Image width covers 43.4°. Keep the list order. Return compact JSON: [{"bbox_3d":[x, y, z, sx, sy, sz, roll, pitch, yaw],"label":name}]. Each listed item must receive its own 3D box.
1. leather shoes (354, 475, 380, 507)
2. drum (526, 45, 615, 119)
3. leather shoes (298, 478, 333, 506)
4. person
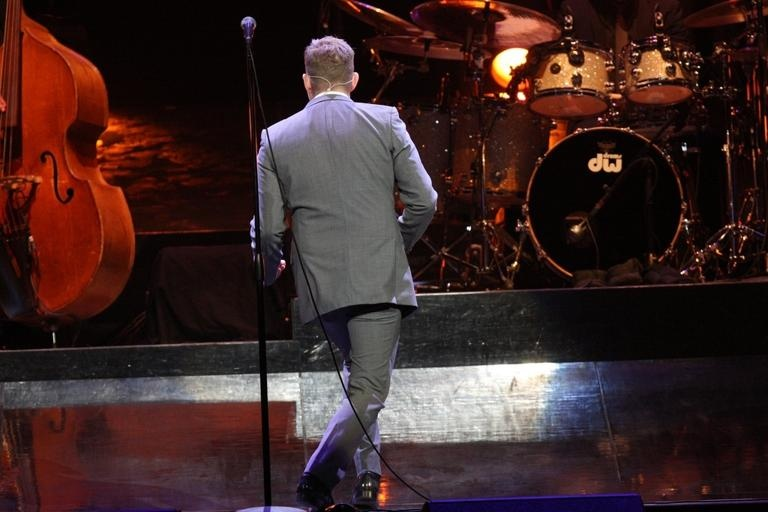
[{"bbox_3d":[-0.083,1.101,4.599,0.124,0.133,0.182,5,15,1],"label":"leather shoes"},{"bbox_3d":[1.234,-1.170,6.427,0.462,0.300,0.446,2,-7,0],"label":"drum"},{"bbox_3d":[-0.323,1.098,4.469,0.167,0.134,0.097,5,15,2],"label":"leather shoes"},{"bbox_3d":[-0.158,0.046,4.630,0.796,2.091,0.877,-1,17,-20],"label":"person"}]
